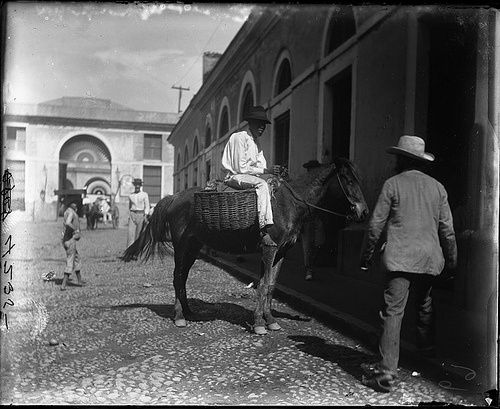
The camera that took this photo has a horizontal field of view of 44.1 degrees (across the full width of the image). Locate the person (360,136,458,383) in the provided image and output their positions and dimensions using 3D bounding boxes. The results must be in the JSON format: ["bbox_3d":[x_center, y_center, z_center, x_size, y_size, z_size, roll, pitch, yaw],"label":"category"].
[{"bbox_3d":[1.677,0.618,6.678,1.065,2.611,0.650,-9,13,-36],"label":"person"}]

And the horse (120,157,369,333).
[{"bbox_3d":[-0.224,0.541,8.462,3.322,2.550,0.864,2,3,9],"label":"horse"}]

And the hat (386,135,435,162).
[{"bbox_3d":[1.782,-0.636,6.891,0.562,0.269,0.522,15,17,35],"label":"hat"}]

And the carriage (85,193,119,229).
[{"bbox_3d":[-2.535,0.137,10.604,0.429,0.480,0.879,0,-12,5],"label":"carriage"}]

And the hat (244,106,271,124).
[{"bbox_3d":[0.100,-1.183,8.276,0.289,0.179,0.279,2,7,-7],"label":"hat"}]

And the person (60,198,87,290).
[{"bbox_3d":[-2.850,0.648,9.749,0.364,1.499,0.899,-4,11,-17],"label":"person"}]
